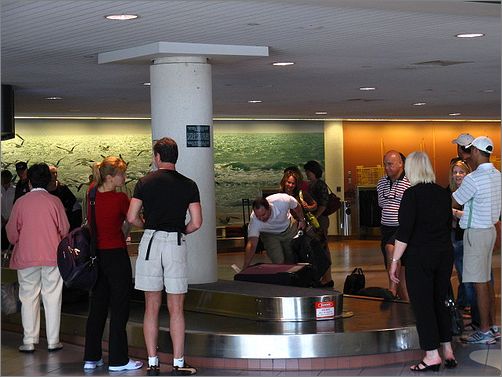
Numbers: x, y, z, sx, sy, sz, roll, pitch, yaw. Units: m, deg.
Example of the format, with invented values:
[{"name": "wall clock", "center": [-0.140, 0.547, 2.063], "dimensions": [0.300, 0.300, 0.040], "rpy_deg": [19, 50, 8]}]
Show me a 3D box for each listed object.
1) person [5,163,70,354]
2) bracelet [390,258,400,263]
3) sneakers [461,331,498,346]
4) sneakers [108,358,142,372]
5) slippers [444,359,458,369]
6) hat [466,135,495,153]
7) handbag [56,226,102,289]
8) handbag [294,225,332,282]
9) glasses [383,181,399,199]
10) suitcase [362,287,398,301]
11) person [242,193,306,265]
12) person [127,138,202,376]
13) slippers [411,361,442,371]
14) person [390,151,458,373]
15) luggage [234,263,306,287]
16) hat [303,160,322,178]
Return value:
[{"name": "person", "center": [-2.186, 0.738, 4.107], "dimensions": [0.653, 1.993, 0.371], "rpy_deg": [0, -3, 2]}, {"name": "bracelet", "center": [1.176, 0.605, 3.252], "dimensions": [0.067, 0.019, 0.043], "rpy_deg": [3, -4, -9]}, {"name": "sneakers", "center": [2.334, 1.569, 4.132], "dimensions": [0.381, 0.125, 0.122], "rpy_deg": [1, -4, 15]}, {"name": "sneakers", "center": [-1.098, 1.586, 3.516], "dimensions": [0.296, 0.092, 0.096], "rpy_deg": [-1, 1, -21]}, {"name": "slippers", "center": [1.706, 1.525, 3.392], "dimensions": [0.060, 0.041, 0.129], "rpy_deg": [-1, -2, 11]}, {"name": "hat", "center": [2.239, -0.440, 3.991], "dimensions": [0.216, 0.126, 0.286], "rpy_deg": [2, 5, -31]}, {"name": "handbag", "center": [-1.434, 0.590, 3.463], "dimensions": [0.596, 0.399, 0.222], "rpy_deg": [-36, -28, 26]}, {"name": "handbag", "center": [0.874, 0.977, 5.849], "dimensions": [0.437, 0.714, 0.489], "rpy_deg": [-1, -3, 31]}, {"name": "glasses", "center": [1.778, 0.055, 5.057], "dimensions": [0.156, 0.172, 0.053], "rpy_deg": [0, -7, 39]}, {"name": "suitcase", "center": [1.641, 1.372, 5.085], "dimensions": [0.187, 0.048, 0.225], "rpy_deg": [1, 1, -41]}, {"name": "person", "center": [0.349, 0.637, 5.741], "dimensions": [0.572, 1.079, 1.147], "rpy_deg": [-1, -3, 33]}, {"name": "person", "center": [-0.719, 0.705, 3.231], "dimensions": [0.567, 1.716, 0.324], "rpy_deg": [1, -3, -14]}, {"name": "slippers", "center": [1.444, 1.516, 3.305], "dimensions": [0.248, 0.066, 0.091], "rpy_deg": [1, -8, 12]}, {"name": "person", "center": [1.427, 0.626, 3.304], "dimensions": [0.542, 1.873, 0.277], "rpy_deg": [0, -3, 2]}, {"name": "luggage", "center": [0.259, 1.083, 4.969], "dimensions": [0.702, 0.172, 0.350], "rpy_deg": [1, 2, 27]}, {"name": "hat", "center": [1.193, -0.349, 7.469], "dimensions": [0.407, 0.277, 0.297], "rpy_deg": [17, -5, -42]}]
